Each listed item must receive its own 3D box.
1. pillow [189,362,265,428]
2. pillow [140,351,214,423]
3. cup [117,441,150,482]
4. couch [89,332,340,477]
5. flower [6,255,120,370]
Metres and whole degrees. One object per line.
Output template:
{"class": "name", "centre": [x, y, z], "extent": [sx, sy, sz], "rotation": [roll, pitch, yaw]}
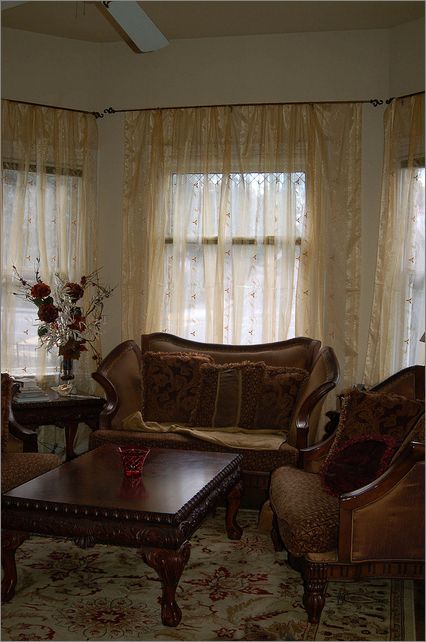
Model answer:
{"class": "pillow", "centre": [0.080, 0.455, 3.279], "extent": [0.395, 0.404, 0.121], "rotation": [7, -12, 30]}
{"class": "pillow", "centre": [-0.267, 0.420, 3.449], "extent": [0.390, 0.402, 0.097], "rotation": [1, -15, 1]}
{"class": "cup", "centre": [-0.309, 0.567, 2.206], "extent": [0.117, 0.103, 0.127], "rotation": [0, -2, 0]}
{"class": "couch", "centre": [-0.016, 0.560, 3.308], "extent": [1.540, 0.945, 0.871], "rotation": [1, -3, 16]}
{"class": "flower", "centre": [-1.002, -0.008, 3.757], "extent": [0.407, 0.527, 0.526], "rotation": [-32, -15, 37]}
